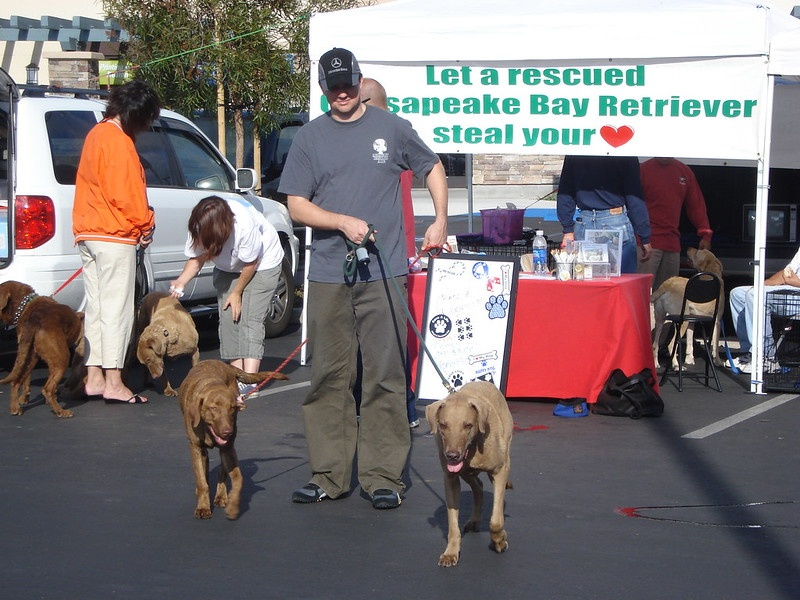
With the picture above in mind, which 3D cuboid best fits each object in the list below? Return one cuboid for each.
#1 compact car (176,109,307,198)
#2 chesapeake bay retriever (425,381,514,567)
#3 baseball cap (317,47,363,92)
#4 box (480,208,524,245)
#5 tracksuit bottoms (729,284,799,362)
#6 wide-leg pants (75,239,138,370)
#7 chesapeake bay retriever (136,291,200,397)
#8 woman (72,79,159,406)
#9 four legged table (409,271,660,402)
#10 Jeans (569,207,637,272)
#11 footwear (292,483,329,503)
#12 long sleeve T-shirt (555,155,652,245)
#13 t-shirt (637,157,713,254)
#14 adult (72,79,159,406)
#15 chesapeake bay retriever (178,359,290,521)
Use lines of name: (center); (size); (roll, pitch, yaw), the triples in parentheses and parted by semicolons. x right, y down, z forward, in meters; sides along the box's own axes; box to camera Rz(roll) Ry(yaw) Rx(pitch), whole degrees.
compact car: (-2.981, -2.559, 15.225); (2.669, 1.542, 1.603); (-8, 12, -41)
chesapeake bay retriever: (0.395, 0.966, 5.088); (0.415, 0.950, 0.712); (3, 11, 18)
baseball cap: (-0.379, -1.410, 5.501); (0.195, 0.161, 0.289); (-7, 29, 4)
box: (1.062, -0.773, 9.499); (0.444, 0.350, 0.400); (-1, -1, 17)
tracksuit bottoms: (3.509, 0.165, 8.697); (0.509, 0.746, 0.995); (-2, 5, 28)
wide-leg pants: (-2.598, -0.048, 7.788); (0.259, 0.922, 0.397); (13, -10, -4)
chesapeake bay retriever: (-2.017, 0.335, 7.828); (0.387, 0.639, 1.049); (-14, 31, -7)
woman: (-2.455, -0.544, 7.928); (0.802, 2.799, 0.817); (0, -1, -35)
four legged table: (1.437, 0.313, 7.589); (1.353, 0.696, 1.400); (2, 5, 17)
Jeans: (1.844, -0.546, 8.107); (0.512, 0.677, 0.263); (-4, 12, 11)
footwear: (-0.578, 1.238, 5.784); (0.214, 0.095, 0.112); (2, 0, -4)
long sleeve T-shirt: (1.930, -0.944, 8.524); (0.999, 1.224, 0.424); (1, 5, 16)
t-shirt: (3.000, -1.008, 9.891); (0.398, 1.061, 1.232); (-6, -2, 41)
adult: (-2.462, -0.540, 7.942); (0.777, 2.803, 0.834); (0, 1, -42)
chesapeake bay retriever: (-1.205, 0.880, 5.808); (0.383, 0.874, 1.079); (-3, 11, -14)
